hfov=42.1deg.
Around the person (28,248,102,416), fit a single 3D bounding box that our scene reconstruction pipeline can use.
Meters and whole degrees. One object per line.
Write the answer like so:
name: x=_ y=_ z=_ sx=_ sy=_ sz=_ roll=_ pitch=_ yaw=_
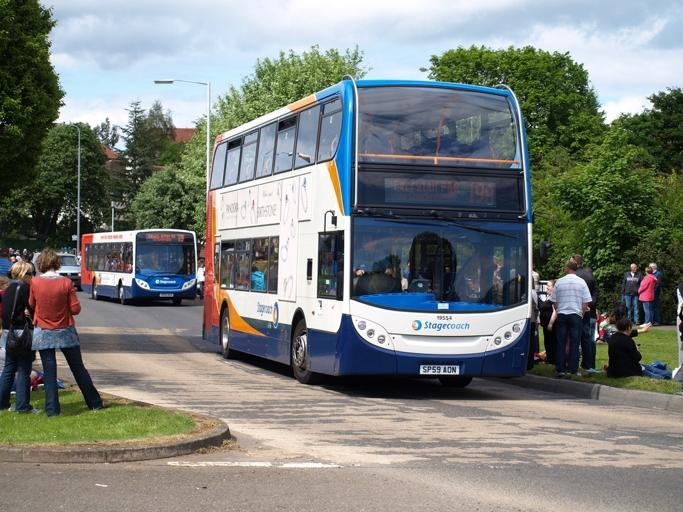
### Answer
person: x=-3.826 y=1.017 z=12.232 sx=0.923 sy=2.276 sz=0.748 roll=0 pitch=-3 yaw=-17
